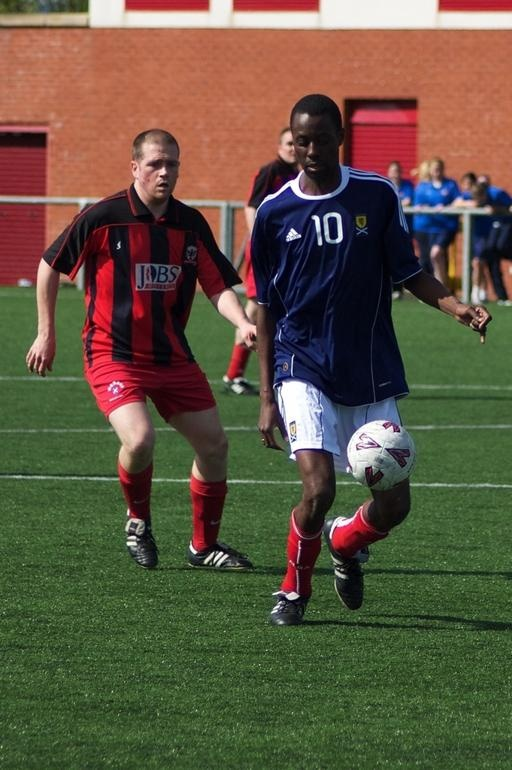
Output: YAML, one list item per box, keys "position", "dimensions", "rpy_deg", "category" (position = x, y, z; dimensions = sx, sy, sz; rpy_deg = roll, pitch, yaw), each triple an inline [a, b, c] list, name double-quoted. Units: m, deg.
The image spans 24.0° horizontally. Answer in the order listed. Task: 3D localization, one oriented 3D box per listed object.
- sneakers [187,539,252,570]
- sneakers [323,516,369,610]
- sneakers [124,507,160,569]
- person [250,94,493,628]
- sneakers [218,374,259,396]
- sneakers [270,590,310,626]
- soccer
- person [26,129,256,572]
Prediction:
- position: [-0.131, 0.614, 4.315]
  dimensions: [0.227, 0.092, 0.088]
  rpy_deg: [1, -2, 10]
  category: "sneakers"
- position: [0.293, 0.583, 3.811]
  dimensions: [0.097, 0.309, 0.122]
  rpy_deg: [-13, -6, -37]
  category: "sneakers"
- position: [-0.394, 0.555, 4.269]
  dimensions: [0.080, 0.085, 0.201]
  rpy_deg: [2, 34, -29]
  category: "sneakers"
- position: [0.268, -0.058, 3.602]
  dimensions: [0.606, 1.571, 0.415]
  rpy_deg: [3, 9, -2]
  category: "person"
- position: [-0.101, 0.000, 8.675]
  dimensions: [0.309, 0.129, 0.112]
  rpy_deg: [12, 35, 13]
  category: "sneakers"
- position: [0.106, 0.674, 3.618]
  dimensions: [0.075, 0.075, 0.193]
  rpy_deg: [1, -7, 1]
  category: "sneakers"
- position: [0.358, 0.193, 3.553]
  dimensions: [0.188, 0.188, 0.188]
  rpy_deg: [-17, 24, 11]
  category: "soccer"
- position: [-0.363, -0.099, 4.286]
  dimensions: [0.871, 1.557, 0.516]
  rpy_deg: [-2, 1, 1]
  category: "person"
